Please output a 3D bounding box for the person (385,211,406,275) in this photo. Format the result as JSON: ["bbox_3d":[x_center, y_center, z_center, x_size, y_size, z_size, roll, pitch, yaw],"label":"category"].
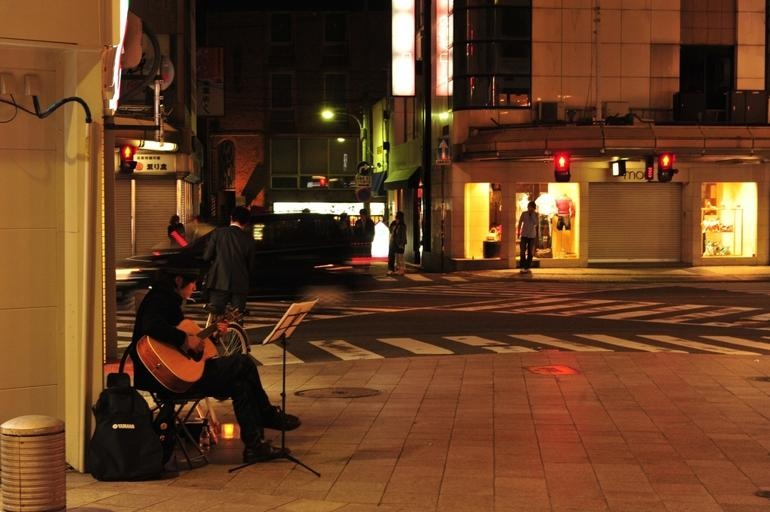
[{"bbox_3d":[0.445,-0.434,33.141,0.608,2.164,1.457,-1,2,1],"label":"person"}]

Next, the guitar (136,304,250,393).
[{"bbox_3d":[-2.223,1.135,10.907,0.264,0.649,1.262,-39,-4,39],"label":"guitar"}]

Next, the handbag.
[{"bbox_3d":[-2.752,1.875,9.984,0.728,0.982,0.235,-1,2,-17],"label":"handbag"}]

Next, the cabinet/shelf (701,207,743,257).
[{"bbox_3d":[12.938,-0.835,35.957,1.279,2.373,1.044,2,-16,6],"label":"cabinet/shelf"}]

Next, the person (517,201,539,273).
[{"bbox_3d":[4.876,-0.614,31.751,0.581,2.358,1.258,-1,2,5],"label":"person"}]

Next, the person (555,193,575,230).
[{"bbox_3d":[6.797,-1.588,35.017,0.800,1.284,0.232,-1,2,-22],"label":"person"}]
